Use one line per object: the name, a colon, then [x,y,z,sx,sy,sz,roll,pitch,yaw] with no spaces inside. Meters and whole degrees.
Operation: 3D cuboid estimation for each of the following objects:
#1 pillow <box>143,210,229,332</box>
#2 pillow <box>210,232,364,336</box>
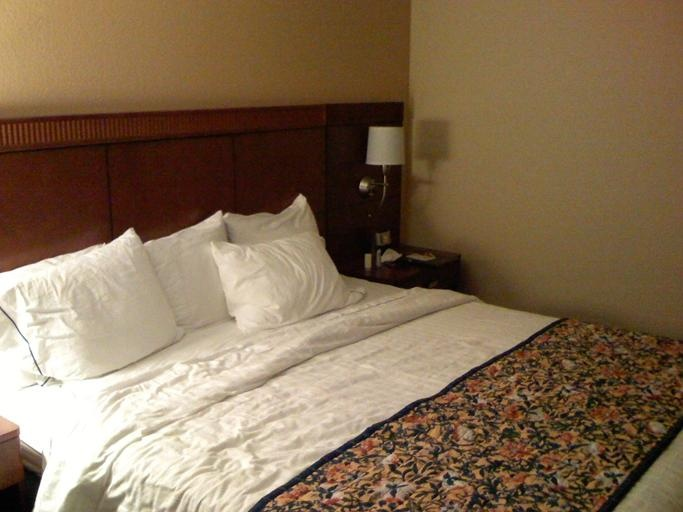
pillow: [-0.755,0.109,2.661,0.146,0.468,0.495,-12,8,30]
pillow: [-0.300,0.112,2.837,0.674,0.428,0.398,-17,24,-33]
